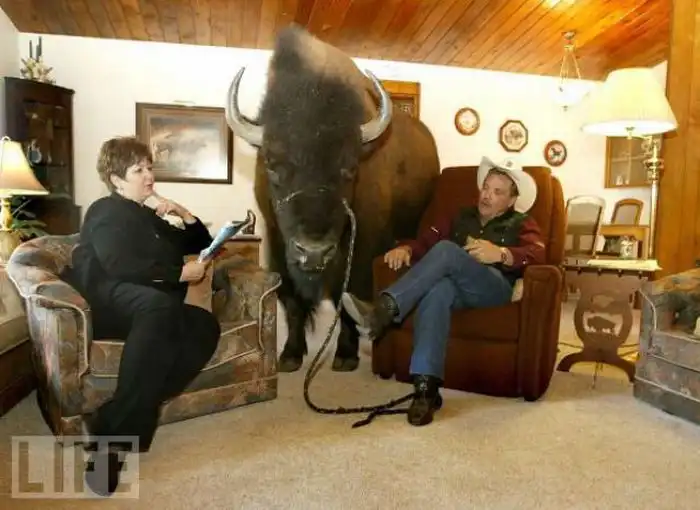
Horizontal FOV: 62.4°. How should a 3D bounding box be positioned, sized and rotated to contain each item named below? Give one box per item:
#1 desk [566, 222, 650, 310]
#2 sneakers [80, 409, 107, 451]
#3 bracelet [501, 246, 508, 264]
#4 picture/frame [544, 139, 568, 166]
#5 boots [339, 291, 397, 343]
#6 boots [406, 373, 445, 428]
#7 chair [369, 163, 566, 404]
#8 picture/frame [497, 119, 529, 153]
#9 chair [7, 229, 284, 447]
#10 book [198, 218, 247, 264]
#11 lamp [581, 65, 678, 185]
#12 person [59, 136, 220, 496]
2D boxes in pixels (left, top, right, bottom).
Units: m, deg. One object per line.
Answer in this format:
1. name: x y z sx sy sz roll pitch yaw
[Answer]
1. desk: 2.329 0.087 5.202 0.925 0.757 0.947 0 1 42
2. sneakers: -1.334 0.881 2.999 0.134 0.273 0.062 -2 -1 35
3. bracelet: 0.993 0.000 3.728 0.030 0.085 0.070 3 38 13
4. picture/frame: 2.944 -1.452 8.245 0.478 0.513 0.024 -9 11 -25
5. boots: 0.140 0.308 3.471 0.146 0.345 0.328 -8 34 47
6. boots: 0.441 0.855 3.478 0.119 0.258 0.352 2 11 22
7. chair: 1.026 0.121 4.432 1.474 1.965 1.476 1 -2 22
8. picture/frame: 2.296 -1.654 8.073 0.460 0.413 0.051 -48 16 -12
9. chair: -1.306 0.482 3.654 1.765 1.353 1.021 0 -2 -35
10. book: -0.906 -0.085 4.083 0.173 0.494 0.152 35 31 -9
11. lamp: 2.214 -0.954 4.564 0.715 0.796 0.755 -1 -2 -10
12. person: -1.128 0.237 3.271 0.829 1.790 0.784 -3 7 -28
